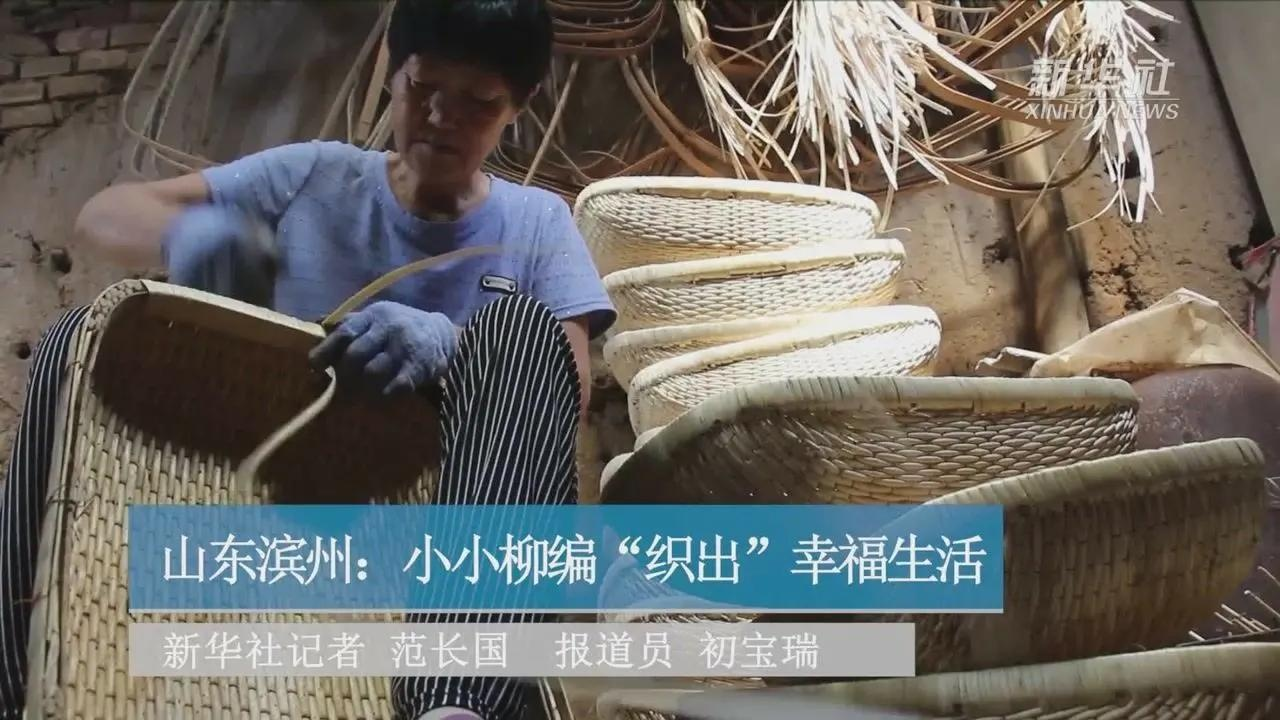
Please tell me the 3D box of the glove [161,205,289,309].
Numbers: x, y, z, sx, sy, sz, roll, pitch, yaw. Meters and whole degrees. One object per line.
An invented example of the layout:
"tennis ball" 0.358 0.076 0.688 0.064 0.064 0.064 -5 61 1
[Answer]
"glove" -0.595 -0.137 2.663 0.143 0.160 0.136 4 55 -16

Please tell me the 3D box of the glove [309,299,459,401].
"glove" -0.344 -0.034 2.629 0.157 0.082 0.209 34 39 24

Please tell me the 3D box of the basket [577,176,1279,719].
"basket" 0.401 0.054 2.832 0.962 0.722 0.587 -6 84 5
